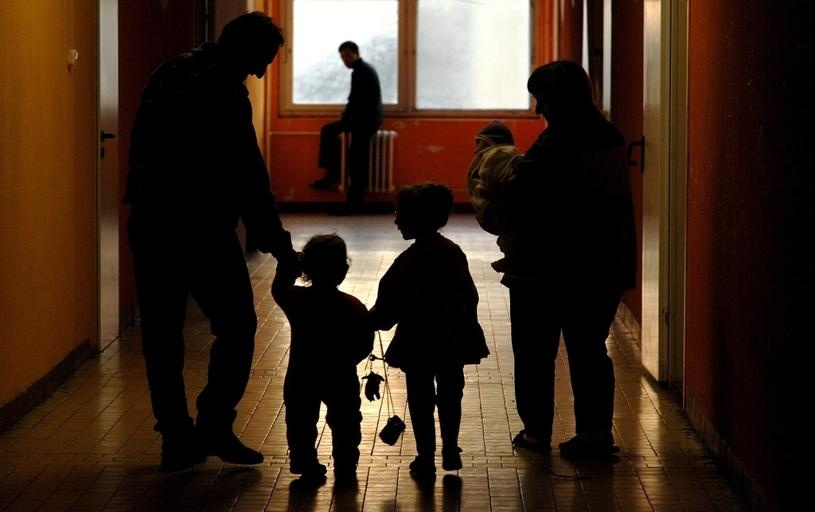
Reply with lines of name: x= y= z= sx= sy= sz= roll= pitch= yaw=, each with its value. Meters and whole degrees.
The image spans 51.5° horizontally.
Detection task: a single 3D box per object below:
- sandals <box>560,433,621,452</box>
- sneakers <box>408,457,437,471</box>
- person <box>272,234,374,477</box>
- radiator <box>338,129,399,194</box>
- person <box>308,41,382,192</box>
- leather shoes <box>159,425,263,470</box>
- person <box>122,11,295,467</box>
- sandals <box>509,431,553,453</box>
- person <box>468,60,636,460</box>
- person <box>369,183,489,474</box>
sandals: x=0.884 y=0.906 z=4.124 sx=0.283 sy=0.126 sz=0.111 roll=2 pitch=1 yaw=4
sneakers: x=0.074 y=0.967 z=3.940 sx=0.079 sy=0.046 sz=0.117 roll=1 pitch=1 yaw=-5
person: x=-0.382 y=0.463 z=3.880 sx=0.452 sy=1.120 sz=0.230 roll=-1 pitch=8 yaw=-6
radiator: x=-0.559 y=-1.511 z=12.052 sx=0.718 sy=1.155 sz=1.097 roll=1 pitch=8 yaw=1
person: x=-0.752 y=-1.854 z=11.424 sx=0.556 sy=2.001 sz=1.111 roll=-4 pitch=10 yaw=-25
leather shoes: x=-0.941 y=0.890 z=4.052 sx=0.502 sy=0.242 sz=0.180 roll=-3 pitch=3 yaw=-7
person: x=-0.929 y=-0.058 z=3.941 sx=0.745 sy=2.099 sz=0.321 roll=-1 pitch=8 yaw=-10
sandals: x=0.613 y=0.928 z=4.208 sx=0.213 sy=0.083 sz=0.079 roll=12 pitch=16 yaw=43
person: x=0.712 y=0.021 z=4.107 sx=0.762 sy=1.872 sz=0.208 roll=3 pitch=9 yaw=16
person: x=0.101 y=0.347 z=3.898 sx=0.533 sy=1.346 sz=0.257 roll=0 pitch=8 yaw=3
